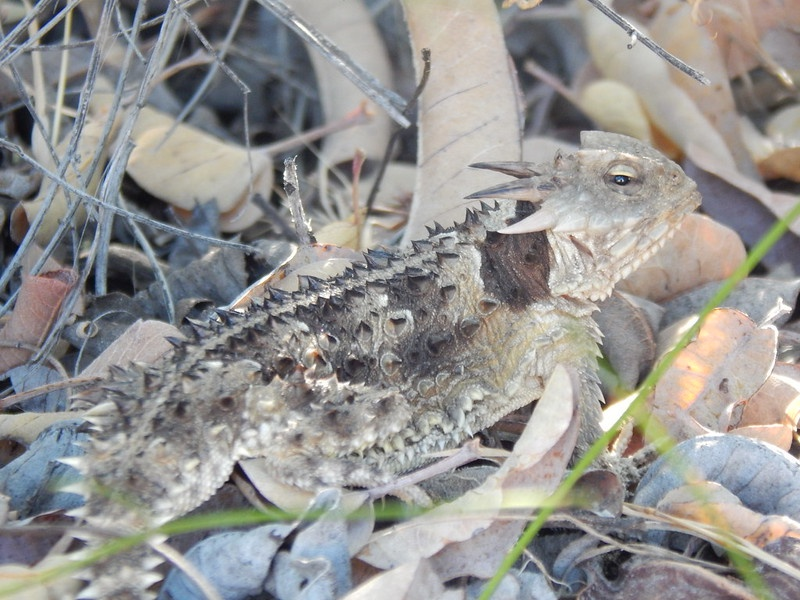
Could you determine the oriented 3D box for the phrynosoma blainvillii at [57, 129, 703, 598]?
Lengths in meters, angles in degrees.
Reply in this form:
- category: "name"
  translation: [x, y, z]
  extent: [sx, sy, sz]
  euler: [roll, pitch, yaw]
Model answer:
- category: "phrynosoma blainvillii"
  translation: [0.029, 0.095, 1.635]
  extent: [1.212, 0.187, 0.490]
  euler: [-30, 81, -9]
